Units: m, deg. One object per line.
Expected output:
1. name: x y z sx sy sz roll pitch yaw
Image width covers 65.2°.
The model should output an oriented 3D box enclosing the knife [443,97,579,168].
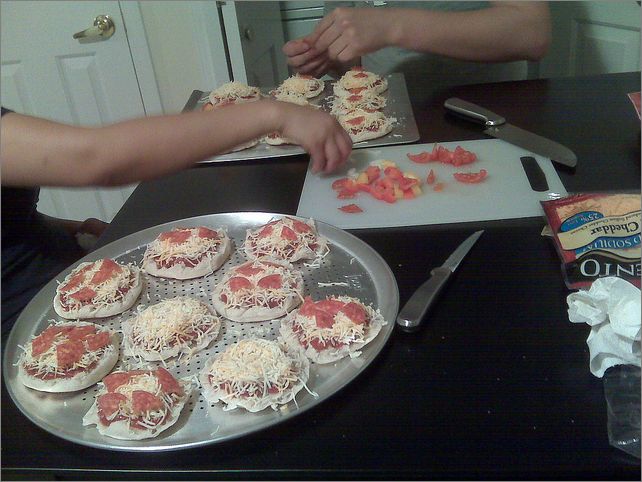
1. knife: 0.520 -0.331 1.475 0.121 0.047 0.502 -32 40 -28

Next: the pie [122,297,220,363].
1. pie: -0.296 0.175 1.011 0.153 0.039 0.144 -25 41 -34

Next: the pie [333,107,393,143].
1. pie: 0.147 -0.373 1.595 0.157 0.046 0.157 -14 40 -14

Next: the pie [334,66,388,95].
1. pie: 0.146 -0.607 1.901 0.209 0.063 0.211 6 31 13

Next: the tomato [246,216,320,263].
1. tomato: -0.088 -0.002 1.179 0.145 0.048 0.122 -16 46 -16

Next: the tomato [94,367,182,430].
1. tomato: -0.321 0.266 0.868 0.119 0.029 0.102 -13 44 -22

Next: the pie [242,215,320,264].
1. pie: -0.095 0.001 1.172 0.142 0.044 0.130 -22 41 -26

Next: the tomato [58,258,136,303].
1. tomato: -0.506 0.089 1.112 0.117 0.030 0.119 -3 26 5

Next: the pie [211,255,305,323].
1. pie: -0.128 0.100 1.062 0.167 0.041 0.132 -14 42 -11

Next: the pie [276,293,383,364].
1. pie: 0.021 0.169 0.964 0.206 0.058 0.137 -1 33 3

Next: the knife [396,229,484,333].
1. knife: 0.302 0.074 1.097 0.071 0.032 0.405 21 43 40

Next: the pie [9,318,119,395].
1. pie: -0.487 0.223 0.969 0.163 0.055 0.164 10 35 19

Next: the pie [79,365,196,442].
1. pie: -0.321 0.278 0.862 0.165 0.045 0.128 5 34 13
